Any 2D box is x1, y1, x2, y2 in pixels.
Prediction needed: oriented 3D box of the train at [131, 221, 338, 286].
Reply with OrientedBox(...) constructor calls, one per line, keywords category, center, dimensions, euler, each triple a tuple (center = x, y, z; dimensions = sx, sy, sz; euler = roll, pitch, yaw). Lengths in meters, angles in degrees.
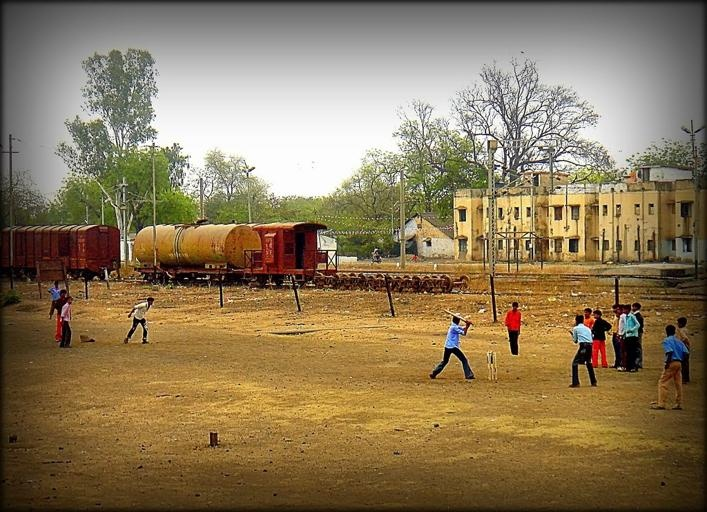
OrientedBox(category="train", center=(-10.158, -0.360, 60.784), dimensions=(17.755, 5.305, 4.890), euler=(-1, 2, 27))
